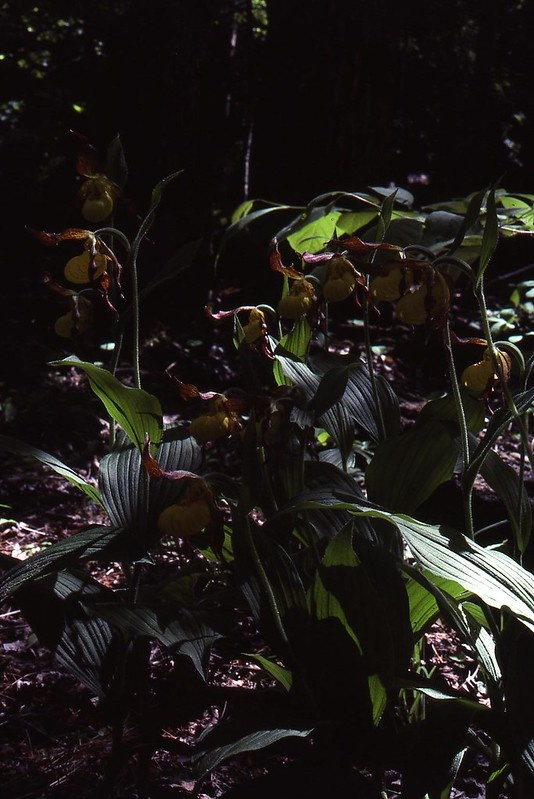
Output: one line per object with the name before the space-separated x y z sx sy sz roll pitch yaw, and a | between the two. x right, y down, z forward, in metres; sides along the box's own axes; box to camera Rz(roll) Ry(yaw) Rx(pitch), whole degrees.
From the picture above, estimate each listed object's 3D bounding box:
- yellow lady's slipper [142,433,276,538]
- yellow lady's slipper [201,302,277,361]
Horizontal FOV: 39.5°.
yellow lady's slipper | -0.167 0.161 1.651 0.333 0.234 0.185 -4 7 -39
yellow lady's slipper | -0.066 -0.179 1.860 0.133 0.160 0.137 3 8 30
